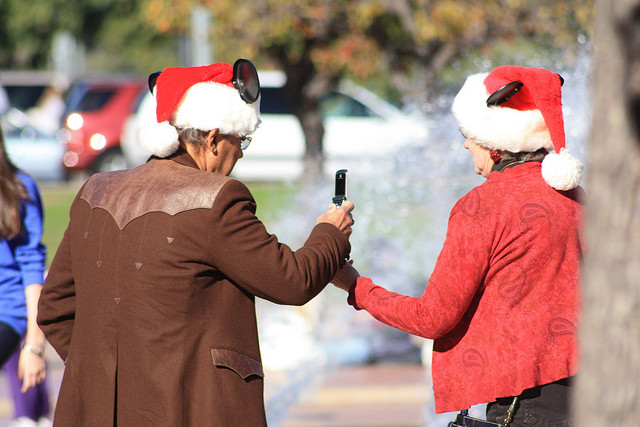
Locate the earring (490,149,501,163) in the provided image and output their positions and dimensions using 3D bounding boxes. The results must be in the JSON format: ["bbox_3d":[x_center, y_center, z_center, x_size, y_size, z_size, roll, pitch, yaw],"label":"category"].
[{"bbox_3d":[2.224,-0.741,24.630,0.113,0.146,0.042,6,4,14],"label":"earring"}]

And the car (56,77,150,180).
[{"bbox_3d":[-3.529,-1.721,37.476,2.932,1.821,1.723,-4,7,-13],"label":"car"}]

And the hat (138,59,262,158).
[{"bbox_3d":[-1.530,-1.486,24.995,1.323,0.970,1.185,-12,7,-1],"label":"hat"}]
